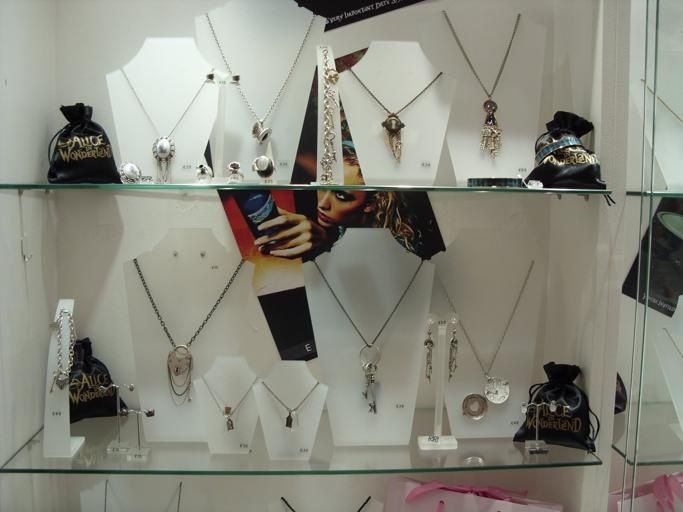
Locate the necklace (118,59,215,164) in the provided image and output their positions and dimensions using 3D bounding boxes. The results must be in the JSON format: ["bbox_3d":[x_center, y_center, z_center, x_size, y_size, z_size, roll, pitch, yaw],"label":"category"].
[{"bbox_3d":[-0.555,-0.400,1.956,0.333,0.485,0.050,-4,-23,0],"label":"necklace"}]

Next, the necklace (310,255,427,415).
[{"bbox_3d":[0.084,0.249,1.938,0.347,0.494,0.047,-1,17,-3],"label":"necklace"}]

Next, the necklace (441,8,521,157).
[{"bbox_3d":[0.467,-0.566,2.019,0.255,0.477,0.076,-3,-1,11],"label":"necklace"}]

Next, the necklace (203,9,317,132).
[{"bbox_3d":[-0.278,-0.601,1.981,0.345,0.446,0.046,2,-4,-16],"label":"necklace"}]

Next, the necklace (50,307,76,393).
[{"bbox_3d":[-0.823,0.283,1.838,0.082,0.239,0.030,-2,-11,4],"label":"necklace"}]

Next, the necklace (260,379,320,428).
[{"bbox_3d":[-0.159,0.452,1.917,0.171,0.163,0.014,2,17,-10],"label":"necklace"}]

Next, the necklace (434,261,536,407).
[{"bbox_3d":[0.457,0.257,1.986,0.365,0.568,0.043,-5,-5,-8],"label":"necklace"}]

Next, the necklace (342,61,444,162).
[{"bbox_3d":[0.162,-0.443,1.975,0.280,0.376,0.055,2,-24,-11],"label":"necklace"}]

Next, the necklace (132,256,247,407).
[{"bbox_3d":[-0.494,0.243,1.958,0.406,0.608,0.043,2,-3,-15],"label":"necklace"}]

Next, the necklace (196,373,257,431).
[{"bbox_3d":[-0.364,0.460,1.933,0.144,0.164,0.031,3,-21,-10],"label":"necklace"}]
